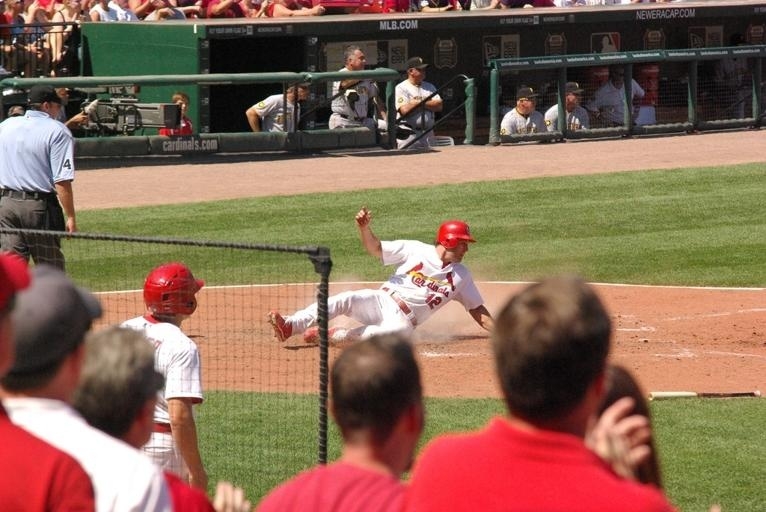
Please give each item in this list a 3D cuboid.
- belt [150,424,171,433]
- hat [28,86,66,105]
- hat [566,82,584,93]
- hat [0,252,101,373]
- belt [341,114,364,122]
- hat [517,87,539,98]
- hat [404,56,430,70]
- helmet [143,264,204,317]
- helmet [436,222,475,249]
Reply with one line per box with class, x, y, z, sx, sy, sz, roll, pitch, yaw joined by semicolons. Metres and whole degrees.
belt;-2.124;1.669;14.679;0.136;0.091;0.035;1;2;-19
hat;-4.002;-1.914;18.069;0.315;0.158;0.229;-11;21;-37
hat;3.419;-3.069;27.532;0.282;0.141;0.211;-2;16;7
hat;-2.800;0.529;12.954;0.659;0.448;0.873;14;48;17
belt;-0.547;-2.413;26.387;0.428;0.117;0.059;-5;7;-28
hat;2.525;-2.943;27.120;0.292;0.145;0.212;-6;15;2
hat;0.582;-3.442;26.732;0.353;0.168;0.257;-4;10;0
helmet;-2.062;0.318;15.198;0.593;0.428;0.393;-12;20;-40
helmet;0.854;-0.247;18.155;0.414;0.284;0.287;13;-5;3
